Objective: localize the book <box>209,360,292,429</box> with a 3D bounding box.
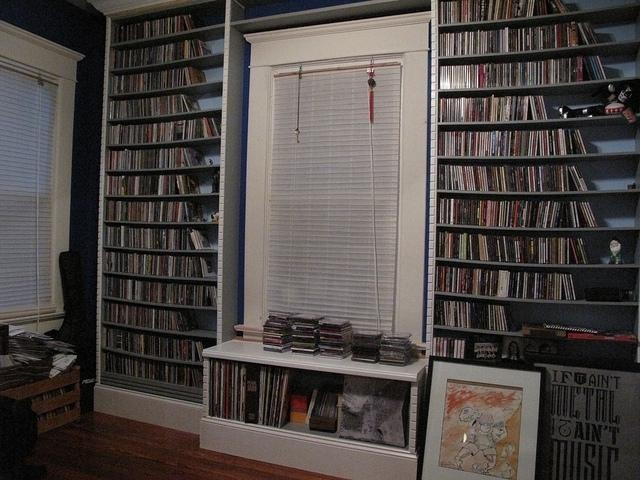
[{"bbox_3d":[-0.527,1.231,4.491,0.913,0.591,0.470,1,-3,15],"label":"book"}]
